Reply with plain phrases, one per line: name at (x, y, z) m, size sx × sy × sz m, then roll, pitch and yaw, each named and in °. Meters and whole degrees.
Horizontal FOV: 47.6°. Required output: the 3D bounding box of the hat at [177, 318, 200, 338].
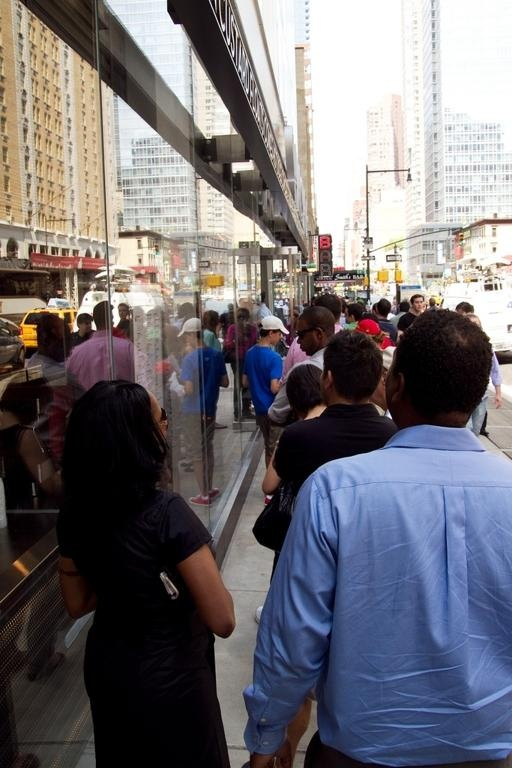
hat at (-0.495, -0.438, 4.357) m, size 0.154 × 0.090 × 0.105 m, roll -6°, pitch 10°, yaw -23°

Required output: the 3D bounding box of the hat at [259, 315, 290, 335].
hat at (0.235, -0.698, 6.885) m, size 0.289 × 0.159 × 0.203 m, roll 9°, pitch 12°, yaw -25°
